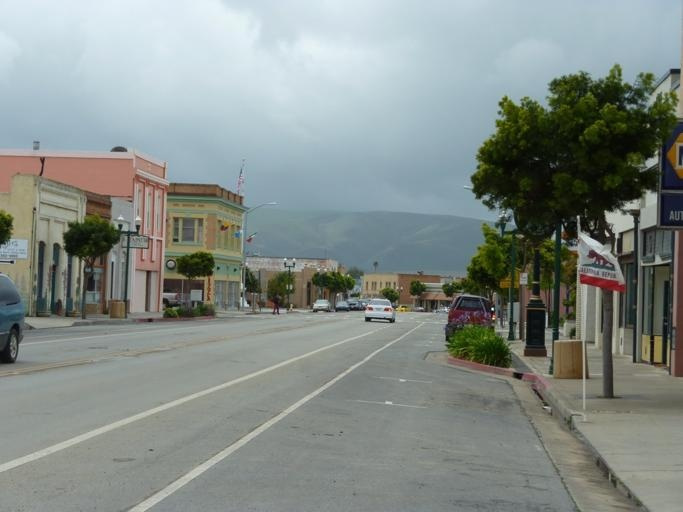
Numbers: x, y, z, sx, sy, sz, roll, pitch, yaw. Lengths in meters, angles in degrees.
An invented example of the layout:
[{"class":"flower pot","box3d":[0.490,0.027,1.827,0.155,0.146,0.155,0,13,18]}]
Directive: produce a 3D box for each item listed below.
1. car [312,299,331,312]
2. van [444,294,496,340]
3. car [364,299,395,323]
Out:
[{"class":"car","box3d":[-2.425,6.204,98.821,1.403,1.170,3.324,-2,-8,3]},{"class":"van","box3d":[5.282,2.532,32.783,1.373,1.415,2.548,0,0,9]},{"class":"car","box3d":[2.699,3.864,56.791,1.552,1.679,2.767,-4,-7,34]}]
